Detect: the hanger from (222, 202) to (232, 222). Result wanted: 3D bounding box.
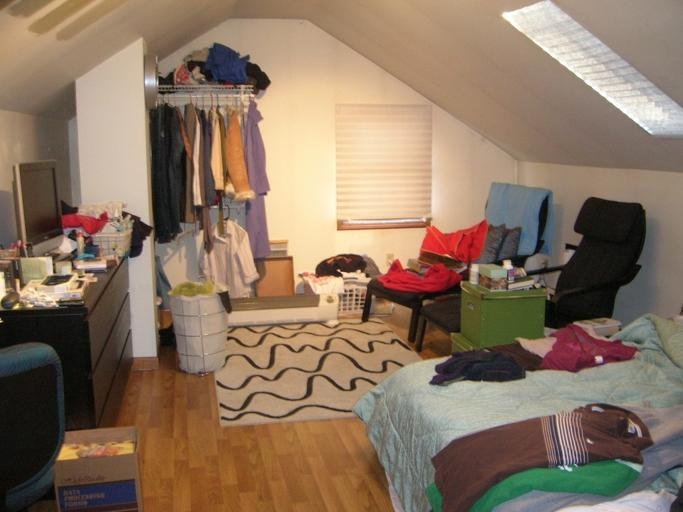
[{"bbox_3d":[-1.080,-0.424,5.182,0.072,0.150,0.110,1,11,1],"label":"hanger"}]

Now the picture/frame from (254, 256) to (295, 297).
[{"bbox_3d":[-0.635,0.191,5.310,0.378,0.368,0.179,-1,11,-6],"label":"picture/frame"}]

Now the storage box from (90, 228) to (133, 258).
[{"bbox_3d":[-1.562,-0.091,3.743,0.178,0.131,0.184,-2,11,-14],"label":"storage box"}]

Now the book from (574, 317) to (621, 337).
[{"bbox_3d":[1.718,0.467,3.650,0.181,0.065,0.183,-2,5,-15],"label":"book"}]

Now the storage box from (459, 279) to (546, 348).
[{"bbox_3d":[1.088,0.359,3.799,0.444,0.474,0.458,-2,7,-15],"label":"storage box"}]

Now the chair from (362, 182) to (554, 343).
[{"bbox_3d":[0.981,-0.058,4.886,1.443,1.271,1.063,0,14,-17],"label":"chair"}]

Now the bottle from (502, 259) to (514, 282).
[{"bbox_3d":[1.115,0.089,3.638,0.068,0.141,0.131,4,12,17],"label":"bottle"}]

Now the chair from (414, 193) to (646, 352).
[{"bbox_3d":[1.467,0.198,4.244,1.536,1.250,1.018,-3,5,-4],"label":"chair"}]

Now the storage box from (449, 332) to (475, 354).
[{"bbox_3d":[0.832,0.621,3.776,0.141,0.096,0.149,-3,10,-19],"label":"storage box"}]
